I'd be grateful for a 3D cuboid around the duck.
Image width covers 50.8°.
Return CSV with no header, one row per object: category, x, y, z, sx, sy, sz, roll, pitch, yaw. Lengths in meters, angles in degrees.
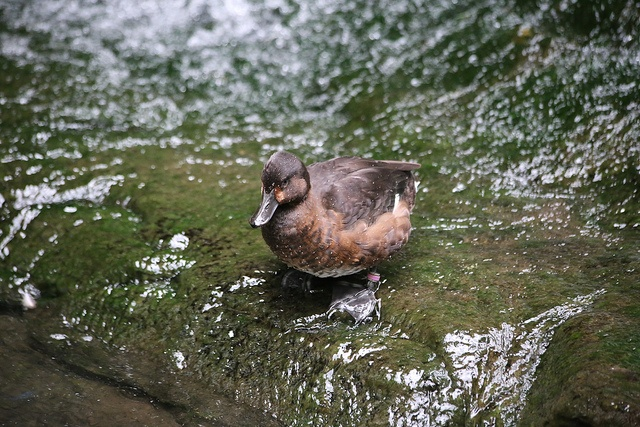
duck,0.087,0.165,5.972,1.320,1.431,1.197,4,7,40
